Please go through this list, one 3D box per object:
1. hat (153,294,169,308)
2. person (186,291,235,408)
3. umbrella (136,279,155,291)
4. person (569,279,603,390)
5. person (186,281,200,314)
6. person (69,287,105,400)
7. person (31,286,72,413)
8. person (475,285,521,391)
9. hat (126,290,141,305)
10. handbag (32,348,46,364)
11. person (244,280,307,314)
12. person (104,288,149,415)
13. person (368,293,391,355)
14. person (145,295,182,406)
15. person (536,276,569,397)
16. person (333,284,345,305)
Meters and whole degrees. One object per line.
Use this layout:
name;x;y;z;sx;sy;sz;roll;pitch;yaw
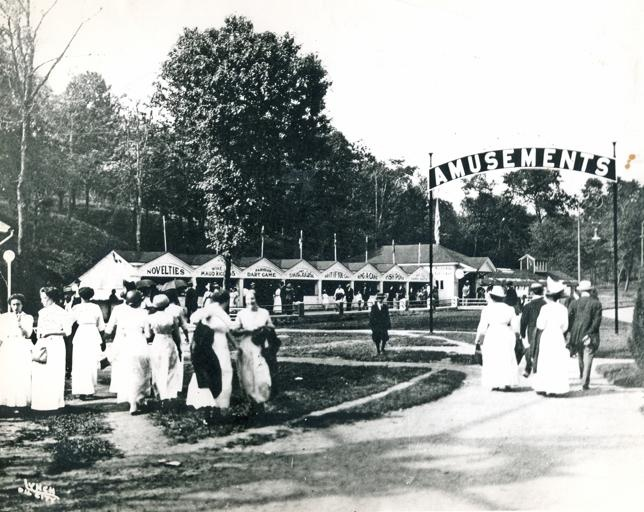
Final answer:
hat;-2.750;0.791;16.013;0.256;0.248;0.320;1;-7;-11
person;-1.906;1.662;16.178;0.787;2.015;0.904;1;-6;-6
umbrella;-3.205;0.527;17.053;0.279;0.222;0.541;1;-7;-4
person;4.827;1.467;17.312;0.611;2.031;0.572;-5;-8;40
person;-2.885;0.932;20.852;0.389;0.357;1.114;-13;-27;-16
person;-4.165;1.652;16.664;0.567;1.796;0.298;2;-6;-14
person;-4.761;1.669;16.555;0.666;2.147;0.492;2;-6;-16
person;3.154;1.499;16.947;0.765;1.869;0.645;-1;-6;10
hat;-3.255;0.761;16.328;0.193;0.270;0.242;-1;-11;15
handbag;-4.998;1.790;16.533;0.261;0.266;0.207;-2;0;5
person;-1.302;1.395;26.458;1.297;0.725;0.922;1;2;-17
person;-3.388;1.718;16.477;0.718;2.160;0.577;0;-6;4
person;1.073;1.362;17.728;0.382;1.057;0.564;0;-6;4
person;-2.714;1.703;16.341;0.588;1.672;0.549;1;-6;-10
person;4.062;1.528;16.793;0.635;1.973;0.610;-1;-6;14
person;0.514;1.221;29.300;0.432;0.977;0.322;-1;-36;4
